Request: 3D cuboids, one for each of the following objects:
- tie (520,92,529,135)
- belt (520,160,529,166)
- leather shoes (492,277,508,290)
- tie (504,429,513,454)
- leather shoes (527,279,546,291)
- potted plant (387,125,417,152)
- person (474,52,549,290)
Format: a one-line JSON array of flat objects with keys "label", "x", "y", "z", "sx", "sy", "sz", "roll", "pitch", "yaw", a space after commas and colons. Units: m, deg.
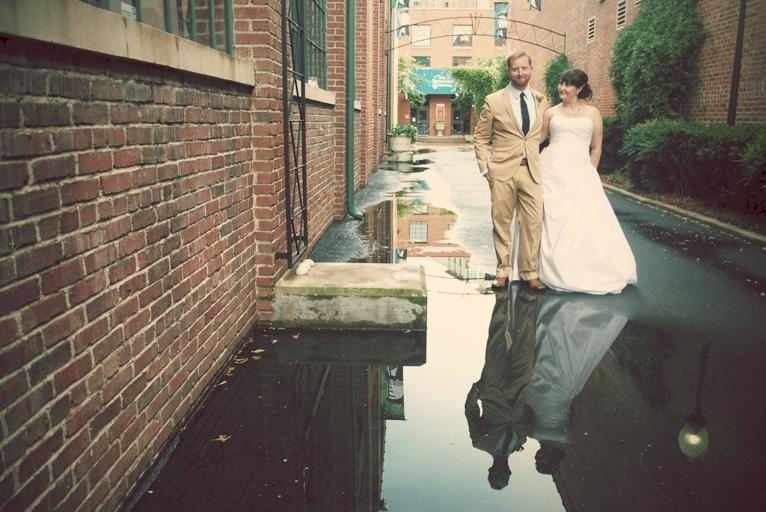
[{"label": "tie", "x": 1.580, "y": -1.575, "z": 6.551, "sx": 0.125, "sy": 0.450, "sz": 0.027, "roll": -5, "pitch": 15, "yaw": -17}, {"label": "belt", "x": 1.604, "y": -1.061, "z": 6.693, "sx": 0.057, "sy": 0.048, "sz": 0.061, "roll": -1, "pitch": 5, "yaw": 0}, {"label": "leather shoes", "x": 1.408, "y": 0.317, "z": 7.025, "sx": 0.171, "sy": 0.117, "sz": 0.070, "roll": -25, "pitch": -2, "yaw": 37}, {"label": "tie", "x": 0.841, "y": 1.235, "z": 3.974, "sx": 0.053, "sy": 0.017, "sz": 0.263, "roll": 5, "pitch": 18, "yaw": 17}, {"label": "leather shoes", "x": 1.806, "y": 0.328, "z": 6.911, "sx": 0.079, "sy": 0.119, "sz": 0.246, "roll": -18, "pitch": 4, "yaw": -40}, {"label": "potted plant", "x": 0.847, "y": -5.055, "z": 25.627, "sx": 0.826, "sy": 1.065, "sz": 1.579, "roll": 6, "pitch": 17, "yaw": 22}, {"label": "person", "x": 1.467, "y": -0.931, "z": 6.736, "sx": 0.798, "sy": 2.620, "sz": 0.384, "roll": 2, "pitch": 14, "yaw": 9}]
